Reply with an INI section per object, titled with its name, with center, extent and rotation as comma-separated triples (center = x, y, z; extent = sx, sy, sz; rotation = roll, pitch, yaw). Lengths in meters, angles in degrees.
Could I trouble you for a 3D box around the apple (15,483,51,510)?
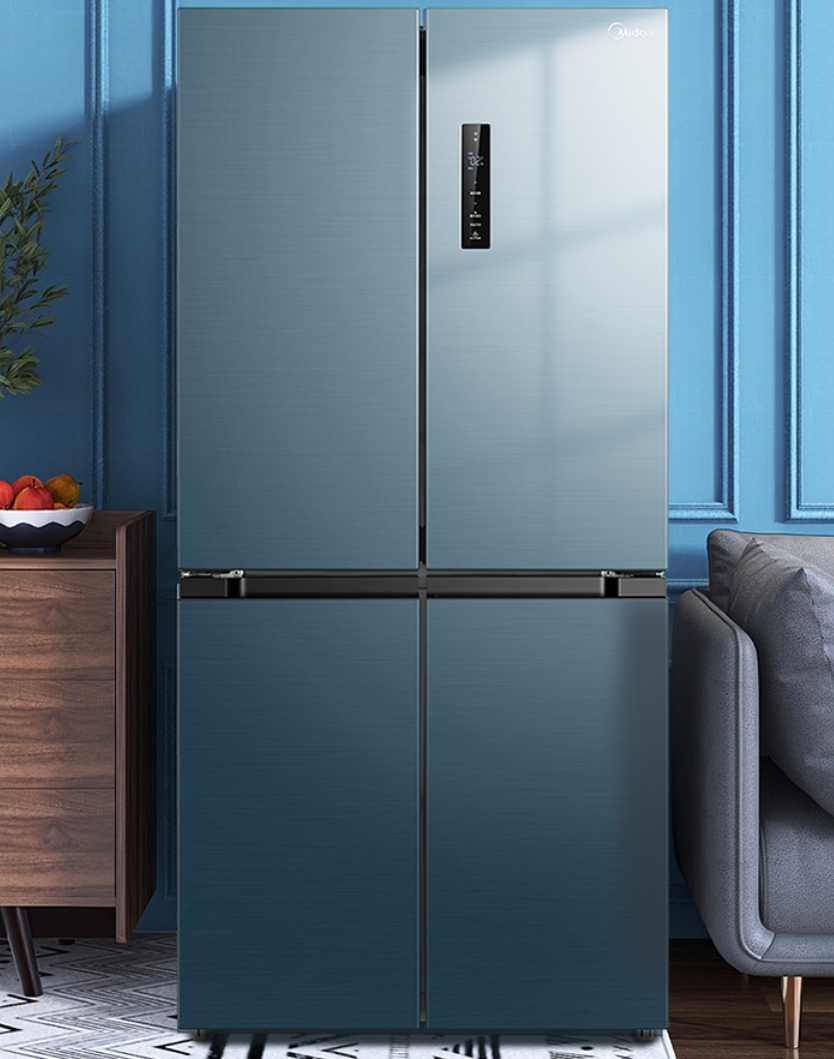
[apple]
center = -0.700, -0.057, 2.237
extent = 0.056, 0.056, 0.050
rotation = 0, -10, 11
